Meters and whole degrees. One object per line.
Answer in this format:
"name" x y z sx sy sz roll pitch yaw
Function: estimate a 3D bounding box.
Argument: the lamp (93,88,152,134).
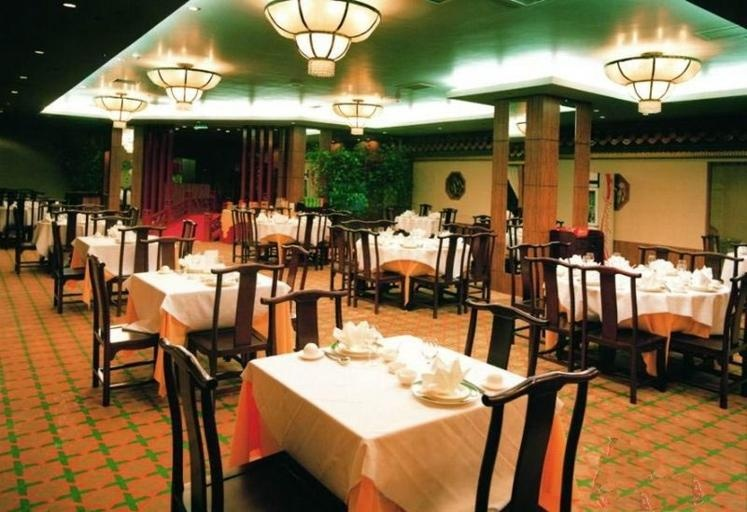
"lamp" -5.490 -3.231 12.352 1.015 0.676 0.674 2 7 22

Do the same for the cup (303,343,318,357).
"cup" -0.472 0.708 4.298 0.097 0.073 0.097 2 0 0

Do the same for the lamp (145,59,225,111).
"lamp" -3.433 -3.004 10.308 1.283 0.618 1.272 -1 3 -1

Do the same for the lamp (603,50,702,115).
"lamp" 4.109 -2.479 8.520 1.054 0.763 1.039 -2 2 -24

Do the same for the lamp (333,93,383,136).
"lamp" -0.359 -3.049 12.280 0.951 0.625 0.940 -1 1 -14
